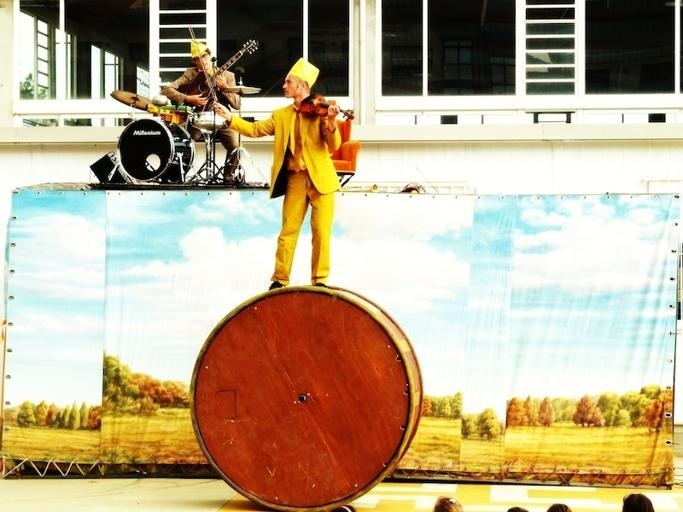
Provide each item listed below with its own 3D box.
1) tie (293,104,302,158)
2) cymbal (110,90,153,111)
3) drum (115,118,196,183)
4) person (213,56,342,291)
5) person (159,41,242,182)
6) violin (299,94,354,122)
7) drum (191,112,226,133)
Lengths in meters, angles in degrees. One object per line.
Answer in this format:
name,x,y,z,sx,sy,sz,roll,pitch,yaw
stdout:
tie,-0.489,-1.367,18.201,0.090,0.543,0.052,2,-1,5
cymbal,-2.703,-1.995,21.118,0.500,0.251,0.530,2,-1,-7
drum,-2.363,-1.235,20.464,0.812,0.836,0.642,-2,-15,18
person,-0.641,-0.923,18.239,1.392,2.512,0.813,-3,-2,8
person,-1.707,-1.885,21.083,0.842,2.040,0.734,3,4,31
violin,-0.203,-1.598,18.017,0.612,0.262,0.120,24,10,31
drum,-1.671,-1.691,20.636,0.416,0.268,0.391,0,3,0
